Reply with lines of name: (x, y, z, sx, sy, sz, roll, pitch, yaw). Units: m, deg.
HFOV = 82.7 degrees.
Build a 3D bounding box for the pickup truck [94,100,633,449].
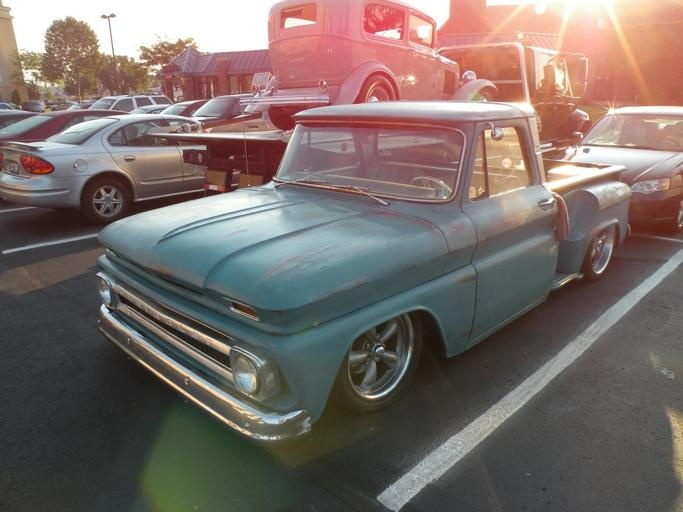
pickup truck: (0.677, -0.164, 3.695, 4.533, 1.446, 2.406, -15, 20, -39)
